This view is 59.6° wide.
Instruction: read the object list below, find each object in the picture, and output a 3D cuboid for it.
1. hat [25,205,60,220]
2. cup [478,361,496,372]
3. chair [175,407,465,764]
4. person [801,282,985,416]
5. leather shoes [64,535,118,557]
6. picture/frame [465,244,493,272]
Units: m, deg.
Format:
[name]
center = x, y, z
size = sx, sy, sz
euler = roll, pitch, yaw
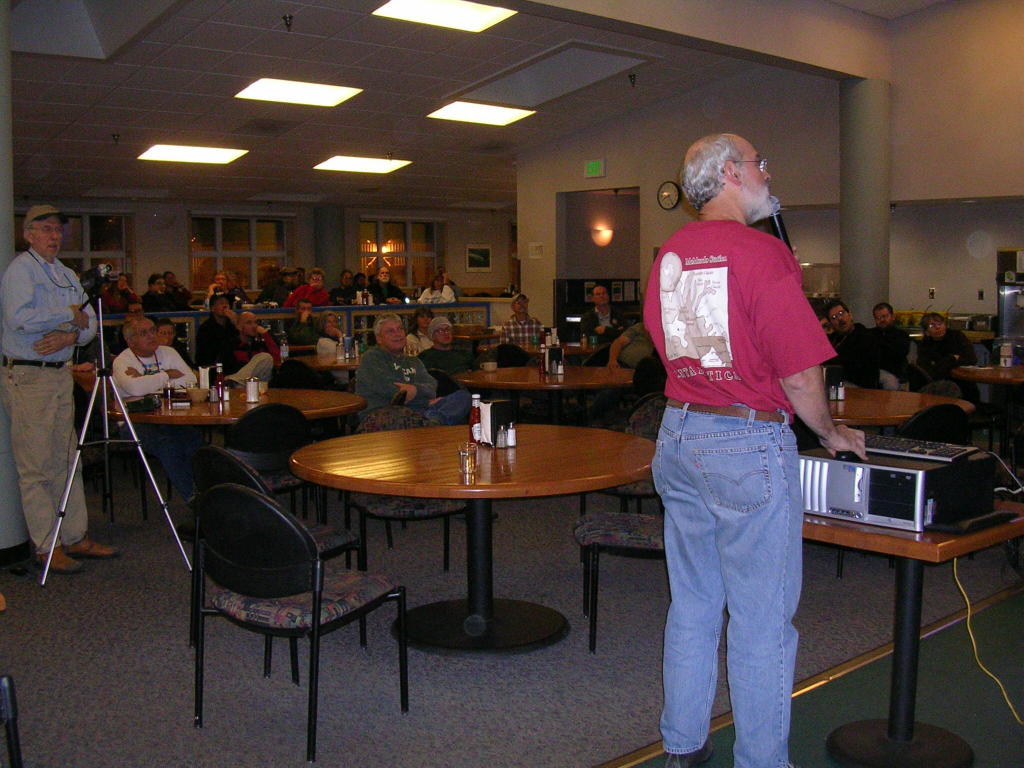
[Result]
[hat]
center = -2.531, -0.907, 4.758
size = 0.196, 0.065, 0.135
euler = 1, 7, 32
[cup]
center = -0.191, -0.141, 6.967
size = 0.116, 0.063, 0.075
euler = 0, 3, 18
[chair]
center = -0.749, 0.696, 3.564
size = 0.951, 1.430, 1.083
euler = 7, 14, 32
[person]
center = 3.008, -0.286, 6.917
size = 0.641, 0.858, 1.529
euler = -25, 24, -14
[leather shoes]
center = -2.363, 0.914, 5.100
size = 0.312, 0.110, 0.105
euler = -1, 7, -7
[picture/frame]
center = -0.797, -2.930, 20.547
size = 0.748, 0.614, 0.053
euler = 0, -1, -32
